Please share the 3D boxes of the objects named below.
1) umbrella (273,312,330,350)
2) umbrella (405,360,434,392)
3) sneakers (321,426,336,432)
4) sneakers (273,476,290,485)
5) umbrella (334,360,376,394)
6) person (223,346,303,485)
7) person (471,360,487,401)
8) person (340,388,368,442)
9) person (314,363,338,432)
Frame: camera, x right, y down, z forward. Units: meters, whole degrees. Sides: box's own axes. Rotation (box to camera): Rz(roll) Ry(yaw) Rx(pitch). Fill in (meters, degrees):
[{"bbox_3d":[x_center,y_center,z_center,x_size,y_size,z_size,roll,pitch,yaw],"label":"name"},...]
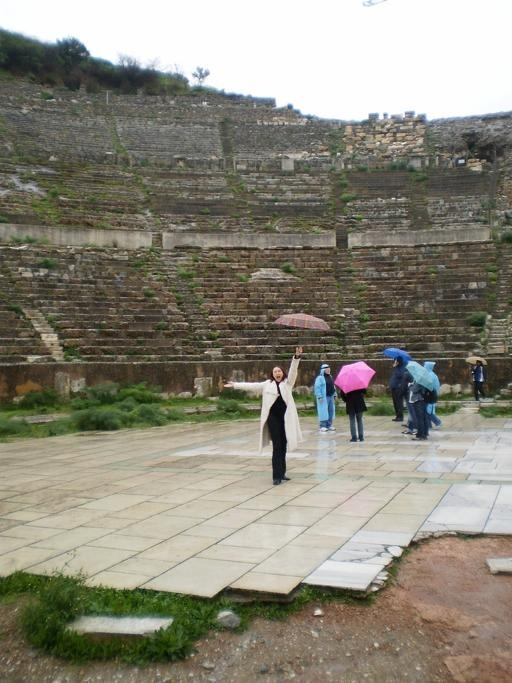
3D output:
[{"bbox_3d":[1.271,-0.493,16.022,1.539,0.844,1.418,3,-3,4],"label":"umbrella"},{"bbox_3d":[2.727,0.580,9.779,0.399,0.473,0.549,-2,0,13],"label":"umbrella"},{"bbox_3d":[1.500,1.775,12.124,0.284,0.103,0.096,0,-1,-25],"label":"sneakers"},{"bbox_3d":[0.320,1.620,7.014,0.070,0.084,0.224,2,4,31],"label":"sneakers"},{"bbox_3d":[1.710,0.640,10.287,0.592,0.517,0.640,-2,0,24],"label":"umbrella"},{"bbox_3d":[0.188,0.880,7.386,0.823,1.578,1.215,-2,0,1],"label":"person"},{"bbox_3d":[6.234,1.064,16.563,0.319,1.071,0.801,-2,0,19],"label":"person"},{"bbox_3d":[1.781,1.288,10.697,0.393,0.887,1.174,-2,0,8],"label":"person"},{"bbox_3d":[1.425,1.131,12.025,0.360,1.319,1.115,-2,0,7],"label":"person"}]
